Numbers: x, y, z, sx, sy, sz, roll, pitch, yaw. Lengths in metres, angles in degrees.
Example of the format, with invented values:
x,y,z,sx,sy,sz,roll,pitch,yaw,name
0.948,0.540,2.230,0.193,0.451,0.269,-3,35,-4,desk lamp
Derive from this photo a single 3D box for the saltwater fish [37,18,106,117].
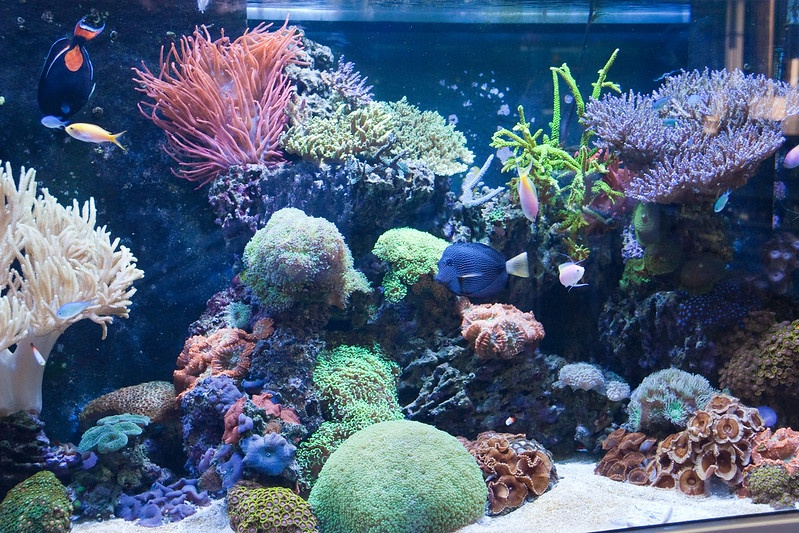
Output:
x,y,z,sx,sy,sz,roll,pitch,yaw,name
-3.168,-1.937,7.877,0.525,1.091,0.147,25,-1,-13,saltwater fish

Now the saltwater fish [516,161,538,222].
x,y,z,sx,sy,sz,roll,pitch,yaw,name
1.251,-0.724,7.984,0.185,0.521,0.408,1,15,5,saltwater fish
